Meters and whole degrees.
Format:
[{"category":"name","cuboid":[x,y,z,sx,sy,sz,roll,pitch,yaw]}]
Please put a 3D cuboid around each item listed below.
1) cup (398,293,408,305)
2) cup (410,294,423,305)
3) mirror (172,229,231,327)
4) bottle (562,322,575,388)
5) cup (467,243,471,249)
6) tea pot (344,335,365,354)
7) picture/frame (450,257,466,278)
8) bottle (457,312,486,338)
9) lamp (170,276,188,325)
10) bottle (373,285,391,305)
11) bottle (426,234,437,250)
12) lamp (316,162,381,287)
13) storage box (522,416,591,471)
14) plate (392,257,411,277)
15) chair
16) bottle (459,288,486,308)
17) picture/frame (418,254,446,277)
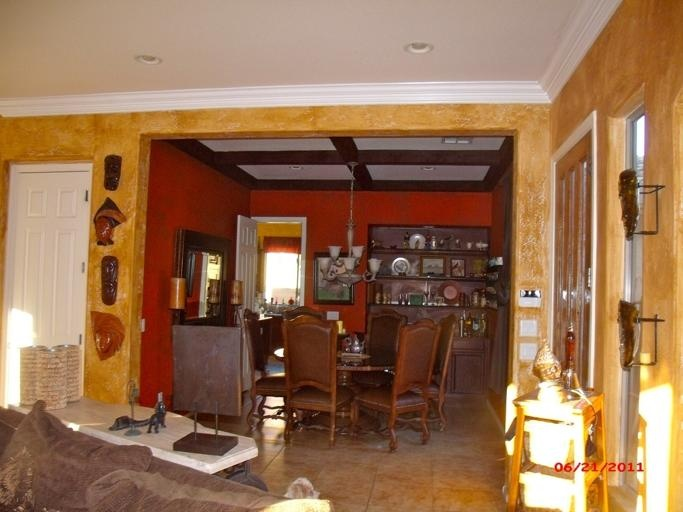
[{"category":"cup","cuboid":[0.939,0.657,8.081,0.136,0.185,0.133,0,1,0]},{"category":"cup","cuboid":[1.115,0.666,8.070,0.241,0.225,0.131,0,-12,4]},{"category":"mirror","cuboid":[-1.721,0.262,6.472,0.091,1.346,1.287,-4,0,15]},{"category":"bottle","cuboid":[1.377,0.592,3.213,0.061,0.325,0.175,2,1,24]},{"category":"cup","cuboid":[1.923,-0.158,8.050,0.096,0.105,0.072,-1,-9,17]},{"category":"tea pot","cuboid":[0.206,1.055,6.332,0.300,0.239,0.194,8,-11,-34]},{"category":"picture/frame","cuboid":[1.757,0.183,8.058,0.291,0.389,0.050,2,0,5]},{"category":"bottle","cuboid":[1.876,0.960,7.656,0.398,0.265,0.539,2,1,13]},{"category":"lamp","cuboid":[-1.789,0.480,5.830,0.166,0.484,0.194,1,1,-21]},{"category":"bottle","cuboid":[0.627,0.574,8.108,0.265,0.295,0.269,2,1,4]},{"category":"bottle","cuboid":[1.353,-0.216,8.106,0.197,0.259,0.198,0,-8,0]},{"category":"lamp","cuboid":[0.118,-0.372,6.456,0.638,1.572,0.587,3,-11,-3]},{"category":"storage box","cuboid":[1.251,1.017,3.096,0.318,0.317,0.324,-4,-8,44]},{"category":"plate","cuboid":[0.916,0.172,8.188,0.271,0.272,0.063,6,-3,6]},{"category":"chair","cuboid":[0.028,1.247,6.096,2.295,1.320,1.965,2,1,11]},{"category":"bottle","cuboid":[1.938,0.624,7.886,0.372,0.275,0.220,-2,-3,22]},{"category":"picture/frame","cuboid":[1.394,0.150,8.138,0.335,0.282,0.027,0,2,5]}]
